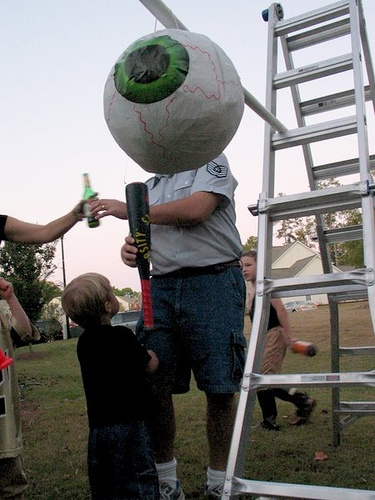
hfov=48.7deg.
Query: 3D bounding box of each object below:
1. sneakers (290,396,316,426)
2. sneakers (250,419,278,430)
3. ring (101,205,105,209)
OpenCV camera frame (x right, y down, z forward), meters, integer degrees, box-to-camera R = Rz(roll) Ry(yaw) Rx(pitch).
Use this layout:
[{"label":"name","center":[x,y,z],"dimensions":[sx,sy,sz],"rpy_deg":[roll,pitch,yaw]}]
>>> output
[{"label":"sneakers","center":[1.077,1.512,3.890],"dimensions":[0.105,0.205,0.292],"rpy_deg":[-14,37,54]},{"label":"sneakers","center":[0.674,1.564,3.764],"dimensions":[0.275,0.100,0.087],"rpy_deg":[1,-10,20]},{"label":"ring","center":[-0.306,-0.159,1.520],"dimensions":[0.003,0.010,0.008],"rpy_deg":[-7,1,32]}]
